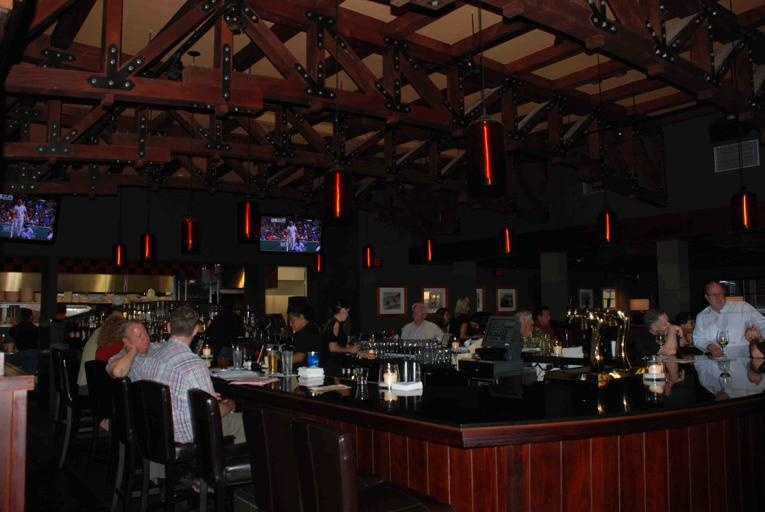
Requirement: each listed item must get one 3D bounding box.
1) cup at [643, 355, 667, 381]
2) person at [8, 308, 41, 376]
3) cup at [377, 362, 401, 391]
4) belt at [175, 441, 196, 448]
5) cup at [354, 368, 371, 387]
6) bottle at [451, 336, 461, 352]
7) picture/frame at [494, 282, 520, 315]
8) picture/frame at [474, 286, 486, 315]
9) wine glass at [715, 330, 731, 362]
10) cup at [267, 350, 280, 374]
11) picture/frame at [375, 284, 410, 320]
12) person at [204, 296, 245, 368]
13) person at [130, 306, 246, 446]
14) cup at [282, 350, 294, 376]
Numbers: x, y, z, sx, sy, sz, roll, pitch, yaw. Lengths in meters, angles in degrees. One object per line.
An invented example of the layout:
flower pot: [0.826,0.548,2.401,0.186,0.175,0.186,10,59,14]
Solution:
cup: [2.324,0.955,5.753,0.177,0.209,0.186,-1,-1,0]
person: [-6.219,1.463,11.756,0.446,1.119,0.632,4,-8,-30]
cup: [0.051,1.040,5.833,0.120,0.230,0.236,4,-8,-26]
belt: [-1.738,1.663,5.972,0.139,0.037,0.140,2,-5,-12]
cup: [-0.172,1.059,5.909,0.144,0.179,0.157,0,-12,0]
bottle: [0.909,1.071,8.248,0.125,0.216,0.118,2,-9,0]
picture/frame: [3.228,1.121,17.670,0.718,0.783,0.048,8,-20,-36]
picture/frame: [2.385,1.092,16.487,0.063,0.925,0.631,-1,-1,40]
wine glass: [3.481,0.892,6.918,0.097,0.268,0.504,-3,-9,26]
cup: [-1.064,1.054,6.733,0.132,0.226,0.116,5,-9,-35]
picture/frame: [0.194,1.009,14.651,0.685,0.641,0.052,5,-11,-35]
person: [-2.431,1.161,10.367,0.602,1.565,0.494,2,-3,-20]
person: [-1.848,1.073,6.181,1.035,1.259,0.768,-3,-8,23]
cup: [-0.924,1.039,6.564,0.098,0.242,0.202,2,-8,-10]
